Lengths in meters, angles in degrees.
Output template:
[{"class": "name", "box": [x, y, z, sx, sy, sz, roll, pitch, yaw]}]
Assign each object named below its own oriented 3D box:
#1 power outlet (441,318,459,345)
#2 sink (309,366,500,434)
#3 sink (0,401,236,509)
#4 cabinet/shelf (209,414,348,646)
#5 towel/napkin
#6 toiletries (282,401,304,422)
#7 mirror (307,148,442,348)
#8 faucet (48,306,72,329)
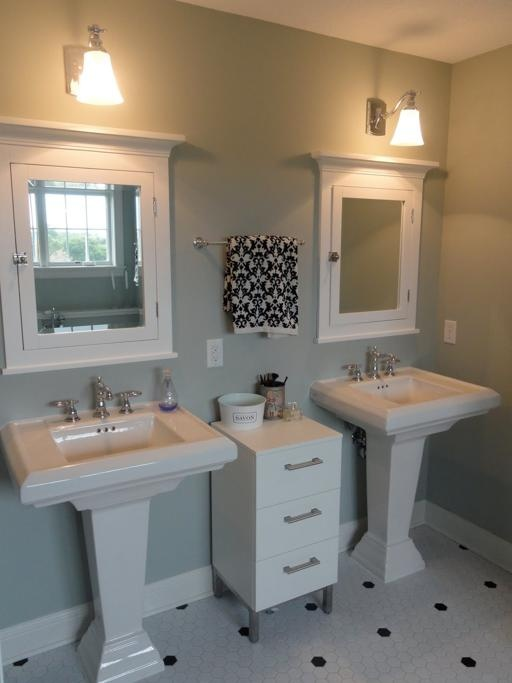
[{"class": "power outlet", "box": [0.983, -0.053, 2.735, 0.012, 0.151, 0.111, -2, 9, -22]}, {"class": "sink", "box": [0.645, 0.267, 2.415, 0.660, 0.167, 0.524, -5, 10, -30]}, {"class": "sink", "box": [-0.452, 0.379, 1.733, 0.619, 0.205, 0.504, -5, 10, -30]}, {"class": "cabinet/shelf", "box": [0.094, 0.694, 2.177, 0.441, 0.766, 0.414, -5, 11, -28]}, {"class": "towel/napkin", "box": [0.009, -0.220, 2.108, 0.381, 0.450, 0.110, -5, 12, -28]}, {"class": "toiletries", "box": [0.162, 0.275, 2.248, 0.091, 0.087, 0.066, -3, 8, -31]}, {"class": "mirror", "box": [0.527, -0.453, 2.500, 0.882, 1.051, 0.125, -6, 12, -31]}, {"class": "faucet", "box": [-0.685, -0.093, 1.883, 0.061, 0.086, 0.072, -13, 23, -42]}]
